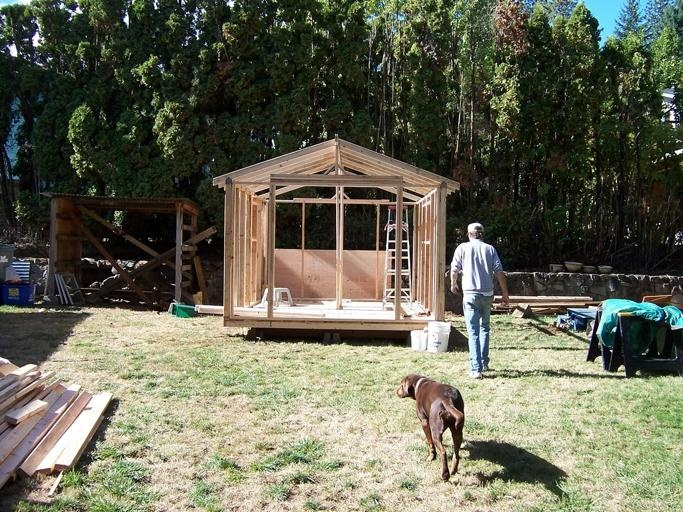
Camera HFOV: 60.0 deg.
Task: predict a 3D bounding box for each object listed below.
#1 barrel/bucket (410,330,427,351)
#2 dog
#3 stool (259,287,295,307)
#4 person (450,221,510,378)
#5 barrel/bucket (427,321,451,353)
[{"bbox_3d":[1.283,1.409,9.766,0.262,0.297,0.269,0,-6,0],"label":"barrel/bucket"},{"bbox_3d":[0.975,1.777,6.300,0.358,0.959,1.286,-2,-3,-15],"label":"dog"},{"bbox_3d":[-1.304,0.863,12.272,0.460,0.279,0.514,-2,-1,29],"label":"stool"},{"bbox_3d":[1.929,0.626,8.365,0.765,2.065,0.935,2,11,9],"label":"person"},{"bbox_3d":[1.571,1.294,9.669,0.377,0.469,0.447,0,0,27],"label":"barrel/bucket"}]
